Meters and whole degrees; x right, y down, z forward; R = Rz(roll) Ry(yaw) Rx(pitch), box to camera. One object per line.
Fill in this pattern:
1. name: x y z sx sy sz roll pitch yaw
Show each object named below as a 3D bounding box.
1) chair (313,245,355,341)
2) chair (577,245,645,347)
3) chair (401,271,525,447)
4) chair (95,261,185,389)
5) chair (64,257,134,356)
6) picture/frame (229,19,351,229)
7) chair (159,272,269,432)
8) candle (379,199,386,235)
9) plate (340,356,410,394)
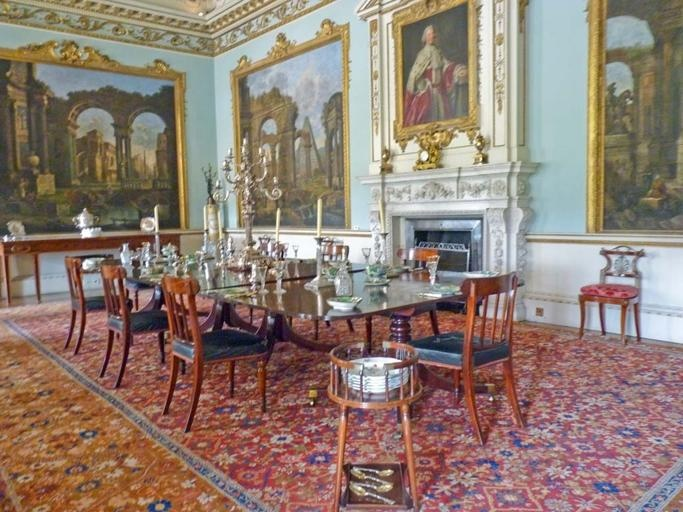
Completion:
1. chair: -0.073 0.347 4.868 0.444 0.267 1.061 -7 30 -14
2. chair: 3.026 0.437 5.824 0.642 1.038 0.691 6 15 31
3. chair: 0.984 0.741 4.157 0.902 1.194 0.855 1 4 19
4. chair: -2.016 0.645 5.277 0.748 1.169 0.796 1 4 39
5. chair: -2.837 0.538 6.121 0.758 1.054 0.805 2 2 28
6. picture/frame: -0.797 -2.344 9.011 0.195 4.328 4.006 -8 11 -40
7. chair: -1.102 0.782 4.478 0.847 1.189 0.779 -1 4 -28
8. candle: 0.608 -0.616 7.691 0.088 0.472 0.053 0 13 4
9. plate: 0.218 0.754 3.291 0.265 0.108 0.278 -2 2 -7
